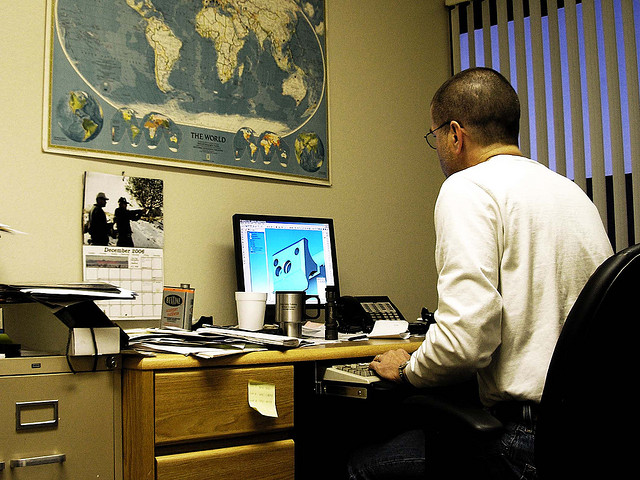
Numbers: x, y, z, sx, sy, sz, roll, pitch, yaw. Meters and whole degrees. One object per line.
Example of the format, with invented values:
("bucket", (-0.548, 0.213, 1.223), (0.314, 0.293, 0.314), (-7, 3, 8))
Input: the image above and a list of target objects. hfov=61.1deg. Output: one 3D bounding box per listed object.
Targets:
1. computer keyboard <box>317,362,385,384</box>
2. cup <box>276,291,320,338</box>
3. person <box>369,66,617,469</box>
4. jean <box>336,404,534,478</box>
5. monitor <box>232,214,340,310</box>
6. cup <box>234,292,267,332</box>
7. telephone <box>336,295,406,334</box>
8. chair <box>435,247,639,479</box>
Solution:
("computer keyboard", (0.099, 0.399, 1.591), (0.144, 0.042, 0.184), (0, -1, -19))
("cup", (-0.078, 0.266, 1.916), (0.158, 0.166, 0.105), (-1, -8, 9))
("person", (0.543, 0.126, 1.628), (0.654, 1.216, 0.748), (7, 17, 45))
("jean", (0.308, 0.535, 1.451), (0.508, 0.255, 0.196), (-1, -1, 26))
("monitor", (-0.135, 0.093, 2.305), (0.484, 0.393, 0.075), (0, -1, -32))
("cup", (-0.244, 0.254, 1.918), (0.119, 0.134, 0.124), (2, -3, 0))
("telephone", (0.179, 0.285, 2.300), (0.252, 0.151, 0.300), (7, 1, -8))
("chair", (0.620, 0.294, 1.425), (0.473, 0.638, 0.510), (4, -6, -35))
